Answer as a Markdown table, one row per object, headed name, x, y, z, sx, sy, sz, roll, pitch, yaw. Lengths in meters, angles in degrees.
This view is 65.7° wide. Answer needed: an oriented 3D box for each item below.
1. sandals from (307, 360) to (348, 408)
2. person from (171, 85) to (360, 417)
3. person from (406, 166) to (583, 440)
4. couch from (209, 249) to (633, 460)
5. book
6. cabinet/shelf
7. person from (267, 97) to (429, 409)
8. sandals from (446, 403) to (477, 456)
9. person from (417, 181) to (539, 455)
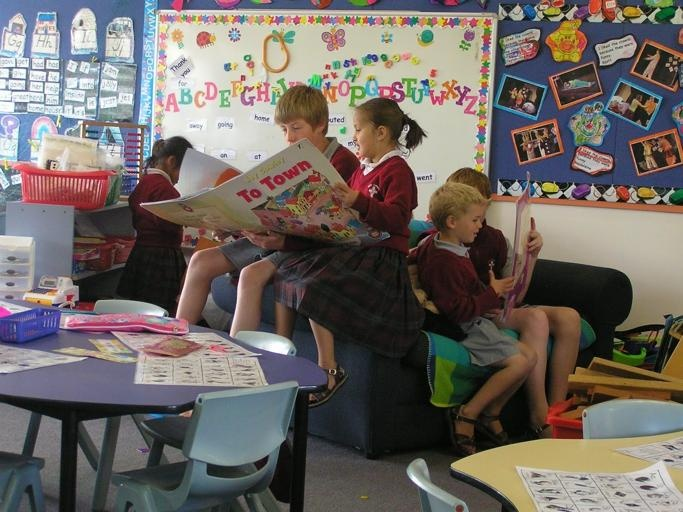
| name | x | y | z | sx | sy | sz | roll | pitch | yaw |
| --- | --- | --- | --- | --- | --- | --- | --- | --- | --- |
| sandals | -0.065 | 0.480 | 2.046 | 0.108 | 0.090 | 0.233 | 5 | 25 | 40 |
| person | -0.332 | -0.125 | 2.326 | 0.920 | 1.352 | 0.599 | 10 | -10 | -39 |
| person | 0.738 | 0.253 | 2.385 | 0.644 | 1.168 | 0.423 | 3 | 21 | 24 |
| couch | 0.403 | 0.539 | 2.247 | 1.386 | 0.667 | 0.970 | 1 | 2 | -39 |
| book | -0.219 | -0.190 | 1.867 | 0.494 | 0.154 | 0.529 | -11 | -1 | 33 |
| cabinet/shelf | -1.497 | -0.030 | 2.963 | 0.356 | 0.476 | 0.644 | 2 | 6 | 8 |
| person | 0.062 | -0.032 | 2.246 | 0.539 | 1.269 | 0.636 | 7 | 10 | 30 |
| sandals | 0.506 | 0.709 | 2.205 | 0.089 | 0.224 | 0.087 | -14 | -9 | 35 |
| person | 0.560 | 0.262 | 2.309 | 0.525 | 1.121 | 0.437 | 4 | 10 | 38 |
